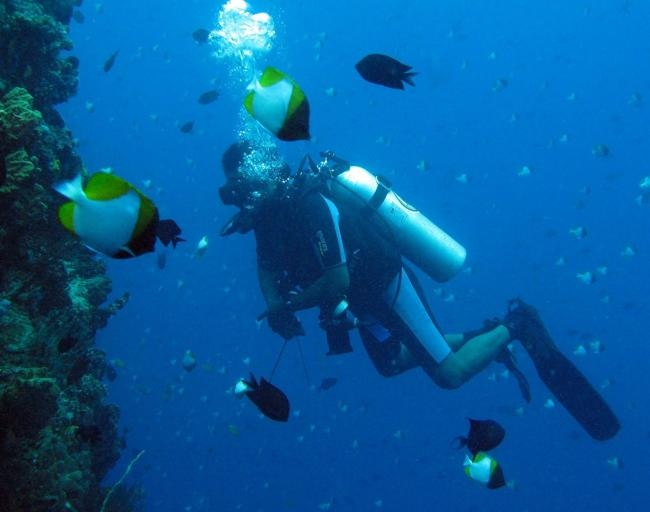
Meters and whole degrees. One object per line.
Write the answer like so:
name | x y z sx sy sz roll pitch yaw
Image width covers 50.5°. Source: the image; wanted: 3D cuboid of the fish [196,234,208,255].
fish | -1.934 -0.149 10.835 0.136 0.101 0.273 5 75 18

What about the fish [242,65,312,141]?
fish | -0.511 -1.701 7.792 0.811 0.570 0.527 20 56 14
